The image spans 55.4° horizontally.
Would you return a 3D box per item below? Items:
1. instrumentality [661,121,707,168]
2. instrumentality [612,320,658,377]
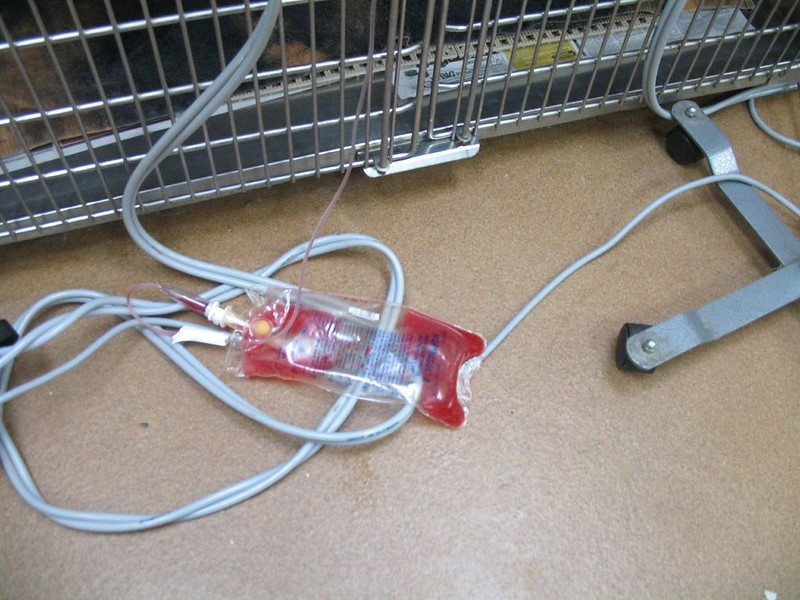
[{"bbox_3d":[0.532,-0.289,1.414,0.066,0.062,0.074,-16,92,-32],"label":"instrumentality"},{"bbox_3d":[0.382,0.083,1.224,0.084,0.030,0.079,0,79,-27],"label":"instrumentality"}]
